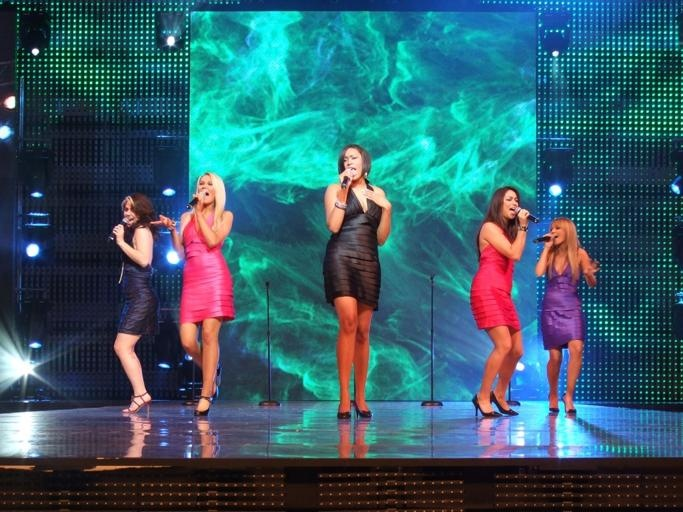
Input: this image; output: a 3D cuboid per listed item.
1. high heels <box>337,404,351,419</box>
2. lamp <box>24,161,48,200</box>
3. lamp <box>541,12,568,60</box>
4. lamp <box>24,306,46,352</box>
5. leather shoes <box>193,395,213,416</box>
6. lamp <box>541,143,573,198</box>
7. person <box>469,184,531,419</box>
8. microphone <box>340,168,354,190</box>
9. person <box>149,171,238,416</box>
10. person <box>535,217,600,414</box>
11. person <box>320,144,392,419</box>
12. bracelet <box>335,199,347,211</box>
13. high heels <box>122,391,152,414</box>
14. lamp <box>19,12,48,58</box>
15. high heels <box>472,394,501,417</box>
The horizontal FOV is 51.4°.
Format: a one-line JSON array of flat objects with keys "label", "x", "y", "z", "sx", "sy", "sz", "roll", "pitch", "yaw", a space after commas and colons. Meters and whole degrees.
[{"label": "high heels", "x": 0.021, "y": 1.228, "z": 5.586, "sx": 0.101, "sy": 0.103, "sz": 0.199, "roll": 0, "pitch": -7, "yaw": 1}, {"label": "lamp", "x": -3.514, "y": -0.902, "z": 8.130, "sx": 0.246, "sy": 0.388, "sz": 0.065, "roll": 0, "pitch": -6, "yaw": 0}, {"label": "lamp", "x": 2.505, "y": -2.586, "z": 8.259, "sx": 0.343, "sy": 0.505, "sz": 0.252, "roll": -2, "pitch": -6, "yaw": 18}, {"label": "lamp", "x": -3.484, "y": 0.767, "z": 8.024, "sx": 0.222, "sy": 0.489, "sz": 0.096, "roll": -1, "pitch": -6, "yaw": 8}, {"label": "leather shoes", "x": -1.166, "y": 1.258, "z": 5.982, "sx": 0.118, "sy": 0.163, "sz": 0.390, "roll": 1, "pitch": -7, "yaw": -4}, {"label": "lamp", "x": 2.511, "y": -1.009, "z": 8.216, "sx": 0.376, "sy": 0.641, "sz": 0.211, "roll": -1, "pitch": -6, "yaw": 8}, {"label": "person", "x": 1.370, "y": 0.384, "z": 6.151, "sx": 0.503, "sy": 1.967, "sz": 0.585, "roll": -1, "pitch": -6, "yaw": 11}, {"label": "microphone", "x": 0.048, "y": -0.619, "z": 5.716, "sx": 0.061, "sy": 0.075, "sz": 0.245, "roll": 0, "pitch": 37, "yaw": 5}, {"label": "person", "x": -1.230, "y": 0.302, "z": 6.123, "sx": 0.589, "sy": 2.075, "sz": 0.322, "roll": -2, "pitch": -6, "yaw": 24}, {"label": "person", "x": 2.116, "y": 0.522, "z": 6.675, "sx": 0.552, "sy": 1.840, "sz": 0.518, "roll": -1, "pitch": -6, "yaw": 9}, {"label": "person", "x": 0.120, "y": 0.189, "z": 5.768, "sx": 0.540, "sy": 2.219, "sz": 0.334, "roll": 4, "pitch": -7, "yaw": -35}, {"label": "bracelet", "x": -0.013, "y": -0.409, "z": 5.649, "sx": 0.076, "sy": 0.085, "sz": 0.056, "roll": 0, "pitch": -6, "yaw": 4}, {"label": "high heels", "x": -1.861, "y": 1.307, "z": 6.321, "sx": 0.321, "sy": 0.197, "sz": 0.135, "roll": -7, "pitch": -4, "yaw": 4}, {"label": "lamp", "x": -3.581, "y": -2.612, "z": 8.421, "sx": 0.290, "sy": 0.435, "sz": 0.422, "roll": 0, "pitch": 1, "yaw": -15}, {"label": "high heels", "x": 1.218, "y": 1.292, "z": 6.101, "sx": 0.328, "sy": 0.249, "sz": 0.139, "roll": -2, "pitch": -6, "yaw": 25}]
